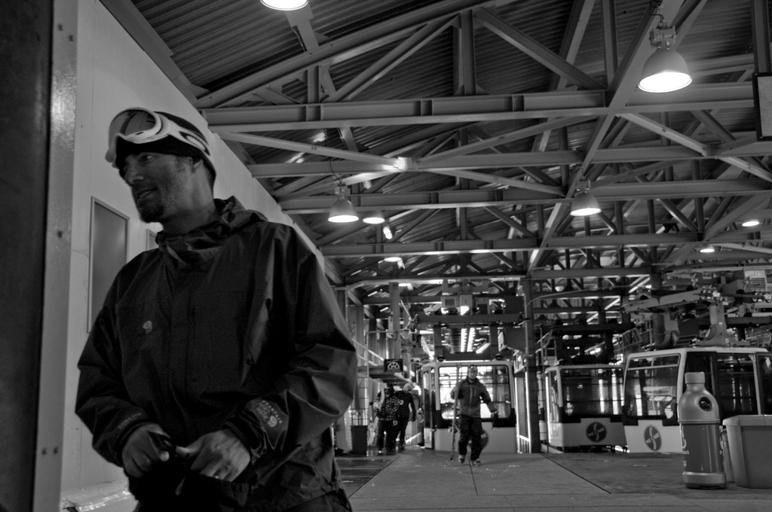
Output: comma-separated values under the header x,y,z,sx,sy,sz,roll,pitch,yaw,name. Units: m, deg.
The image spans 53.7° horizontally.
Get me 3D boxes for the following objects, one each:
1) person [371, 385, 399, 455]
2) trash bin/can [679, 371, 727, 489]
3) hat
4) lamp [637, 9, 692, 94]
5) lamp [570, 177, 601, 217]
x,y,z,sx,sy,sz,roll,pitch,yaw,name
0.063,4.997,23.585,0.615,2.089,0.987,1,-14,0,person
4.695,2.597,11.370,0.567,1.706,0.424,-5,-15,21,trash bin/can
-1.119,-0.592,3.876,0.383,0.263,0.543,-16,-21,37,hat
3.742,-2.879,10.233,0.661,1.043,0.591,-7,19,-3,lamp
4.352,-1.358,16.608,0.842,0.880,0.832,-2,-33,19,lamp
